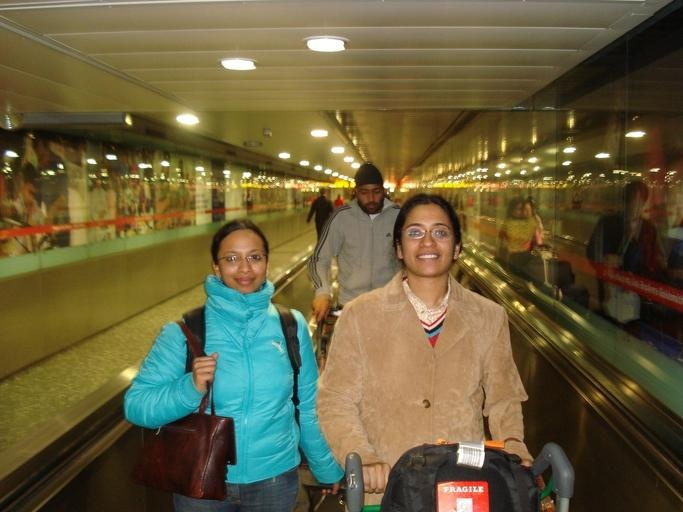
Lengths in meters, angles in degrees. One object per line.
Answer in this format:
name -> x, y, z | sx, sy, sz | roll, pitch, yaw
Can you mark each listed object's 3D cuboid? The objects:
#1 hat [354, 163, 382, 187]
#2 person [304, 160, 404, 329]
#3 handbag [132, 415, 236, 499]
hat -> 0.258, -0.748, 3.982 | 0.217, 0.195, 0.232 | -1, -15, 5
person -> 0.188, 0.235, 4.137 | 0.973, 2.160, 0.796 | -7, 28, -7
handbag -> -0.706, 0.844, 1.902 | 0.462, 0.424, 0.198 | -8, -24, 27
